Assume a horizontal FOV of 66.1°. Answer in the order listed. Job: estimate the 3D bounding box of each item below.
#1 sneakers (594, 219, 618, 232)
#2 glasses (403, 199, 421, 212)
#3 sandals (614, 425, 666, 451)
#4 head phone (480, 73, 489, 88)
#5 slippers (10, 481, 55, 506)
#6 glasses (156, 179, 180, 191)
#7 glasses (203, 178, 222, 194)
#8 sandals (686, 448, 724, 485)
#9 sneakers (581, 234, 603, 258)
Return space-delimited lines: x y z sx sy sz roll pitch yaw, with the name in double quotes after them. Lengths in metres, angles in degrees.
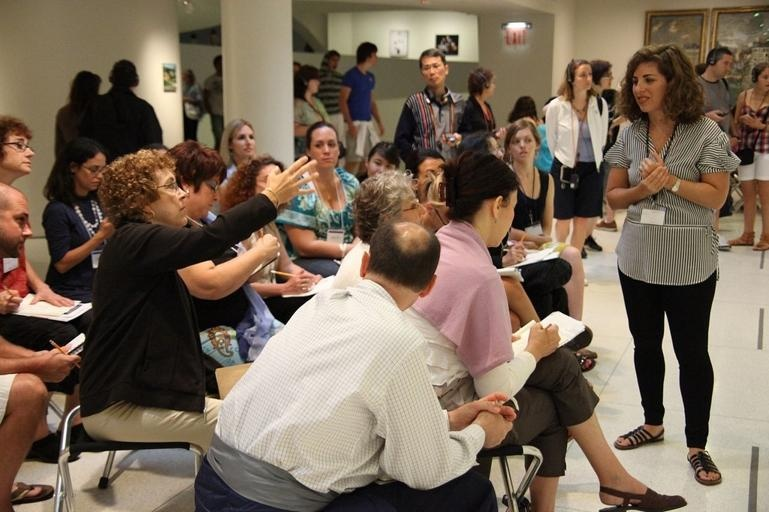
3.476 -0.493 9.237 0.146 0.178 0.379 -7 13 -24 "sneakers"
0.152 -0.292 3.376 0.078 0.026 0.077 -19 10 37 "glasses"
1.577 1.139 3.671 0.319 0.133 0.133 -7 4 -5 "sandals"
1.150 -2.030 6.755 0.090 0.128 0.125 6 38 9 "head phone"
-1.889 1.299 3.233 0.273 0.095 0.106 -1 7 0 "slippers"
-1.019 -0.343 2.794 0.045 0.051 0.143 2 11 6 "glasses"
-1.084 -0.447 3.731 0.072 0.091 0.153 1 11 3 "glasses"
1.847 1.208 3.389 0.177 0.134 0.182 6 12 25 "sandals"
2.771 -0.143 7.918 0.210 0.247 0.600 5 12 33 "sneakers"
